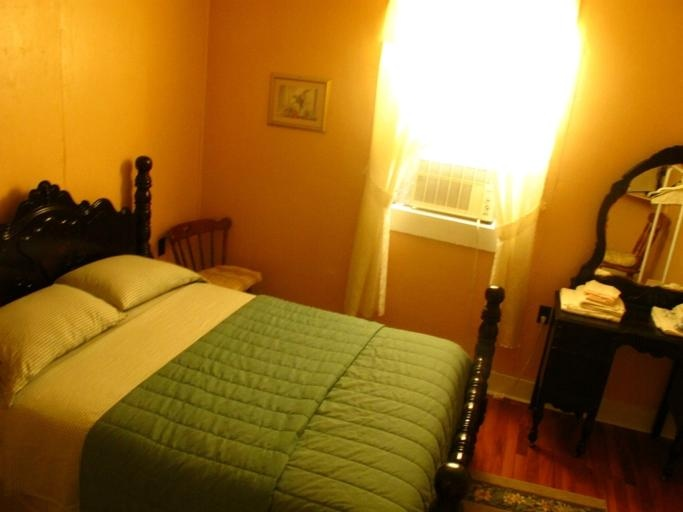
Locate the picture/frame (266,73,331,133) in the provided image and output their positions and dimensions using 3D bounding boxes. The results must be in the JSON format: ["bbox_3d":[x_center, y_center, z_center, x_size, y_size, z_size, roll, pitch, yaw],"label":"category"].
[{"bbox_3d":[-0.299,-1.129,4.034,0.387,0.332,0.030,13,21,7],"label":"picture/frame"}]

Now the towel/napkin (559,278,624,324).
[{"bbox_3d":[1.549,0.282,3.420,0.282,0.101,0.298,4,24,16],"label":"towel/napkin"}]
